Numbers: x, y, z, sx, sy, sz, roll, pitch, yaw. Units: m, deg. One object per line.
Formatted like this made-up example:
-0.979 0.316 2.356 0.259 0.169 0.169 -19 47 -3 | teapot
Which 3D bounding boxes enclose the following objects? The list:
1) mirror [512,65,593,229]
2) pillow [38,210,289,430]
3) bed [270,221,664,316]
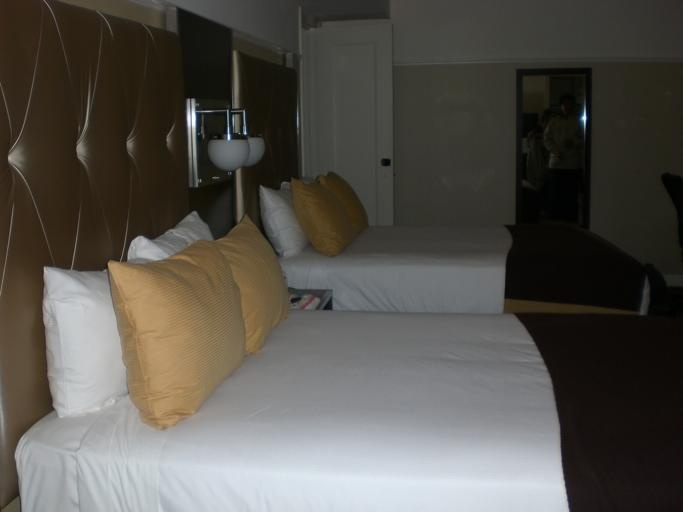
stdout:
2.195 -1.126 5.531 0.746 1.550 0.208 -2 11 -3 | mirror
-0.574 -0.043 1.746 0.399 0.495 1.045 2 10 7 | pillow
0.726 0.091 3.274 1.933 0.368 1.145 -2 12 0 | bed
